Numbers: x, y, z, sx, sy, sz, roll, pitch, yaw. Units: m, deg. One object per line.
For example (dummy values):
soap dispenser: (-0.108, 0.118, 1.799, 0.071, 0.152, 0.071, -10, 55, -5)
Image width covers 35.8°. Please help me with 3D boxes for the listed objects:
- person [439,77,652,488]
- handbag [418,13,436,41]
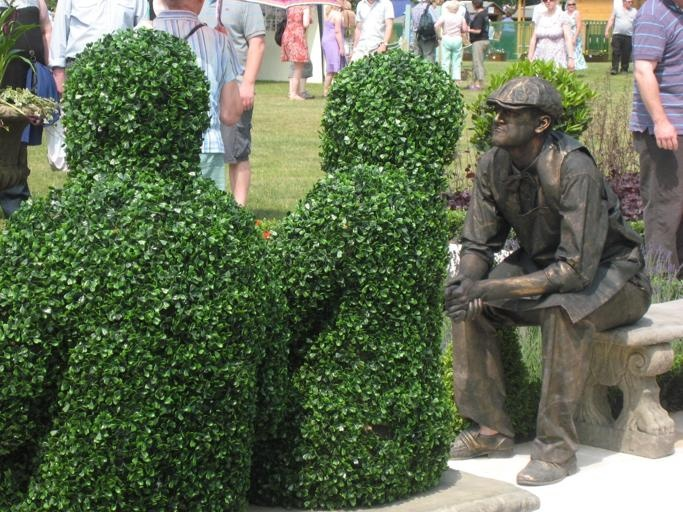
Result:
person: (1.236, 0.129, 6.455, 1.158, 2.410, 0.697, 0, 6, 8)
handbag: (1.550, -4.228, 19.427, 0.387, 0.511, 0.266, 2, 14, 13)
